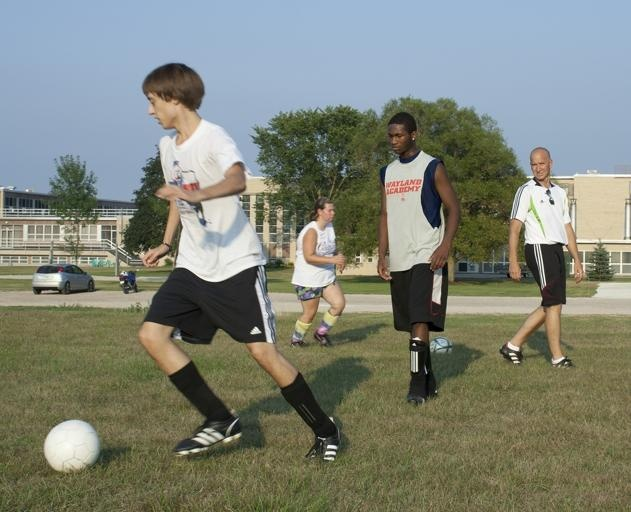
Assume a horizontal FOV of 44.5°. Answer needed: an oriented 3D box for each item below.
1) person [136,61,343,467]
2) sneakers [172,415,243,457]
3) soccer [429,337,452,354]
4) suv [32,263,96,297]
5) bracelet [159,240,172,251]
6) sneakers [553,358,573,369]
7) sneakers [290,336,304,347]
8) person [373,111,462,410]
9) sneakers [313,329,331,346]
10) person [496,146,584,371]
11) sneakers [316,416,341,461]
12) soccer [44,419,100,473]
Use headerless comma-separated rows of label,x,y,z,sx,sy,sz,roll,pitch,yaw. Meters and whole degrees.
person,-0.741,0.045,5.641,1.360,2.849,1.076,5,7,42
sneakers,-0.750,1.303,5.718,0.554,0.237,0.198,-15,7,-21
soccer,1.569,1.113,9.660,0.224,0.192,0.187,-5,-13,35
suv,-9.382,0.862,28.881,1.042,0.854,2.266,0,2,17
bracelet,-1.193,-0.096,6.168,0.044,0.084,0.075,-43,-13,-10
sneakers,2.725,1.174,8.529,0.175,0.086,0.095,-4,6,-24
sneakers,-0.249,1.168,10.613,0.227,0.168,0.081,-1,8,-8
person,0.953,0.023,7.334,0.635,2.509,0.937,-3,6,-31
sneakers,0.106,1.167,10.822,0.125,0.291,0.125,-42,-27,10
person,2.570,0.023,8.775,0.878,2.488,1.113,2,5,16
sneakers,0.107,1.376,5.727,0.111,0.354,0.135,-15,-39,31
soccer,-1.722,1.381,5.516,0.326,0.328,0.337,2,-46,-11
